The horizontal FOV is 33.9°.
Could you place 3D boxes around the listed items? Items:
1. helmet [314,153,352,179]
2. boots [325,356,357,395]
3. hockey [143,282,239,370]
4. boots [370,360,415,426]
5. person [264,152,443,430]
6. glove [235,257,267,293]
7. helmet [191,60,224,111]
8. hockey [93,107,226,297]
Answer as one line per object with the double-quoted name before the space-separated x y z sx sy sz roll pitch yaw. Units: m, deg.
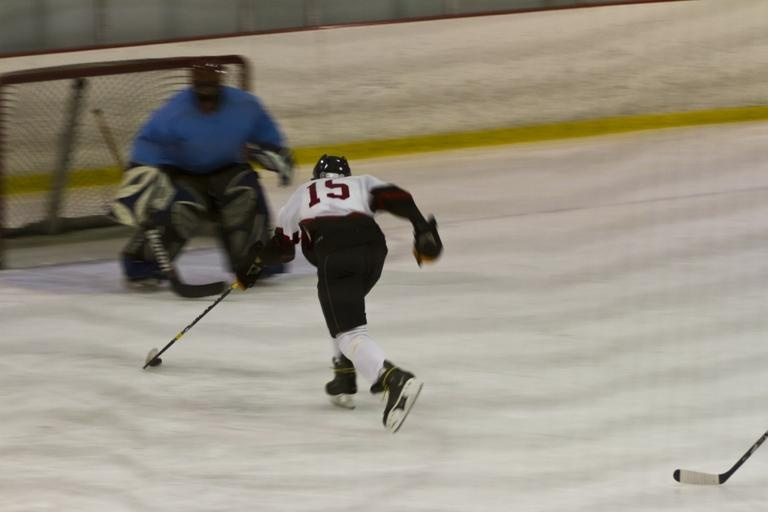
"helmet" -0.284 -0.467 6.624 0.157 0.135 0.174 1 10 -4
"boots" -0.223 0.595 6.396 0.151 0.206 0.100 5 13 -2
"hockey" -1.011 0.344 6.834 0.395 0.466 0.565 8 12 15
"boots" 0.044 0.689 6.158 0.165 0.364 0.234 -2 14 -32
"person" -0.090 0.161 6.376 0.600 1.269 1.021 -4 15 -36
"glove" -0.723 0.100 6.660 0.117 0.227 0.087 53 8 3
"helmet" -1.060 -0.975 7.426 0.185 0.247 0.237 4 11 -8
"hockey" -1.321 -0.289 7.473 0.236 1.211 0.150 -18 -1 -36
